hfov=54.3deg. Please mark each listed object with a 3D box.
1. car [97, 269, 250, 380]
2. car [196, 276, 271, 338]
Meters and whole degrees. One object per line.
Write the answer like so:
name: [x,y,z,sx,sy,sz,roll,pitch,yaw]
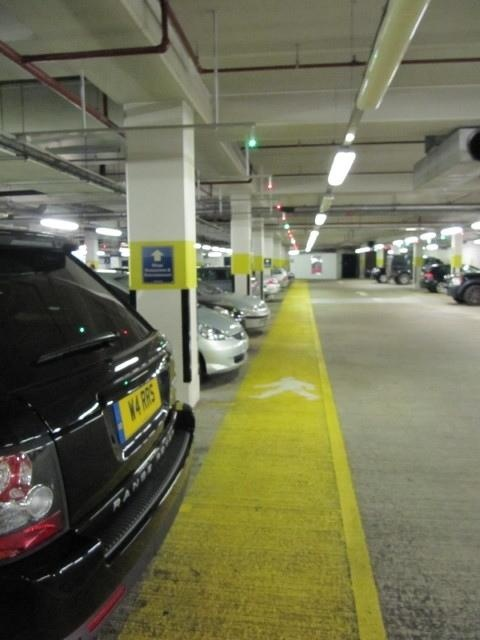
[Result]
car: [-1.125,-0.060,6.437,2.400,1.263,1.253,2,10,10]
car: [-0.200,-0.184,10.274,1.715,0.644,0.930,2,10,8]
